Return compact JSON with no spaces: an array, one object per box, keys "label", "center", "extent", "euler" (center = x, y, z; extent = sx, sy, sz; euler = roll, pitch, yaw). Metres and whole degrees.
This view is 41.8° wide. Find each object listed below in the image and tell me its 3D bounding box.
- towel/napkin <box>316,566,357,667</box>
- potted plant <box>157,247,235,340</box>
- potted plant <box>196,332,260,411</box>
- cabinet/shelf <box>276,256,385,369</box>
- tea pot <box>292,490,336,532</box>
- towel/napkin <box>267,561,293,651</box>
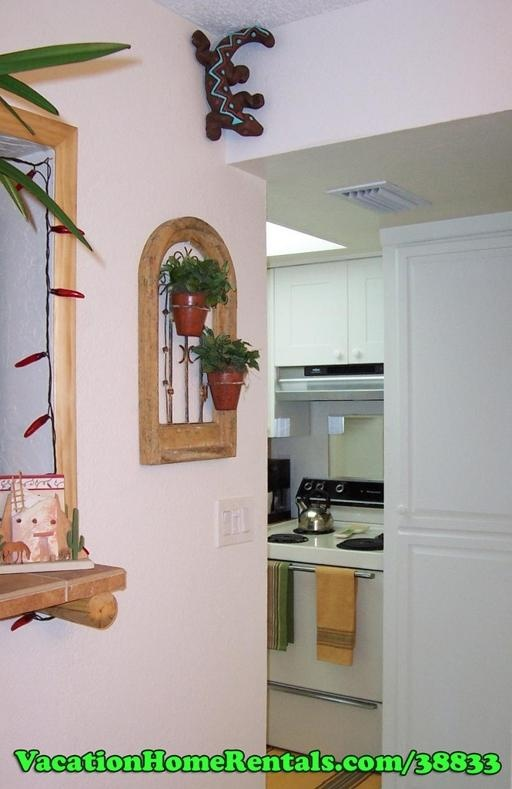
[{"label":"towel/napkin","center":[0.325,0.907,2.764],"extent":[0.170,0.368,0.078],"euler":[-2,-2,21]},{"label":"potted plant","center":[-0.126,-0.209,1.380],"extent":[0.146,0.170,0.104],"euler":[-1,-1,-7]},{"label":"potted plant","center":[-0.064,-0.053,1.474],"extent":[0.130,0.180,0.131],"euler":[-1,-1,8]},{"label":"cabinet/shelf","center":[0.394,-0.386,3.322],"extent":[0.597,0.483,0.226],"euler":[0,0,29]},{"label":"tea pot","center":[0.296,0.597,3.399],"extent":[0.155,0.172,0.178],"euler":[1,-1,19]},{"label":"towel/napkin","center":[0.098,0.932,2.972],"extent":[0.044,0.365,0.224],"euler":[10,-20,-26]}]
